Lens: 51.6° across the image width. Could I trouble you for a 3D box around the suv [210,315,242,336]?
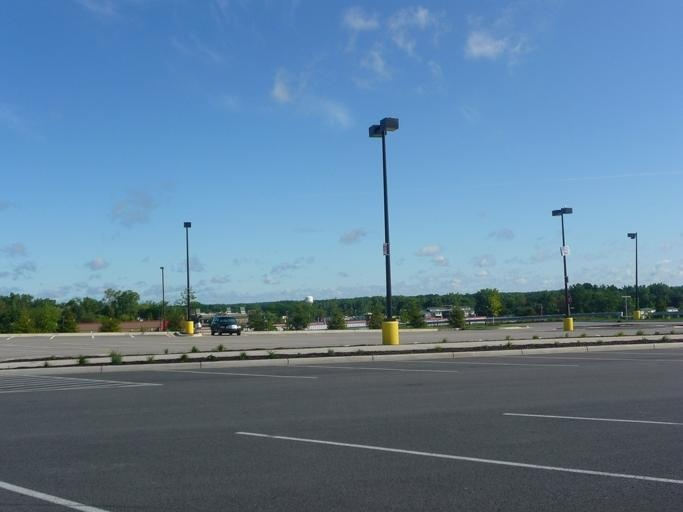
[{"bbox_3d":[-8.400,4.946,50.462,1.258,1.159,2.643,1,-8,-18],"label":"suv"}]
